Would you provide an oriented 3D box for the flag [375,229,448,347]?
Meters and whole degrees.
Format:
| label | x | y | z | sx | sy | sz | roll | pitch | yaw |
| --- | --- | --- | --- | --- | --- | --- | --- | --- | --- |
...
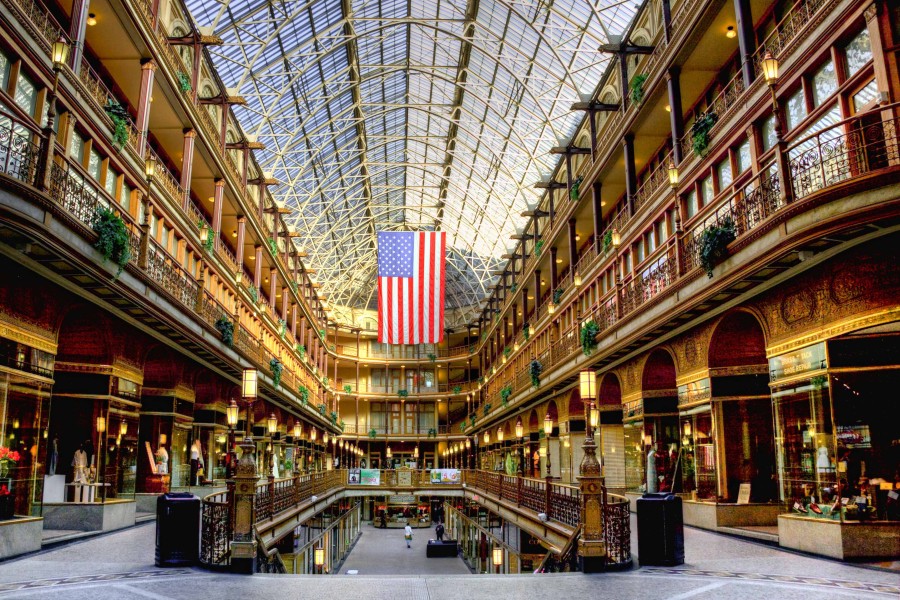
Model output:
| label | x | y | z | sx | sy | sz | roll | pitch | yaw |
| --- | --- | --- | --- | --- | --- | --- | --- | --- | --- |
| flag | -2.084 | -0.661 | 37.414 | 3.551 | 5.979 | 0.728 | 0 | 0 | 6 |

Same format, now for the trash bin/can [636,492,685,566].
| label | x | y | z | sx | sy | sz | roll | pitch | yaw |
| --- | --- | --- | --- | --- | --- | --- | --- | --- | --- |
| trash bin/can | 5.208 | 5.707 | 17.528 | 1.123 | 1.799 | 1.486 | 0 | -9 | -5 |

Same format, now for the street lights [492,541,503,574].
| label | x | y | z | sx | sy | sz | roll | pitch | yaw |
| --- | --- | --- | --- | --- | --- | --- | --- | --- | --- |
| street lights | 2.543 | 12.438 | 33.157 | 0.922 | 1.549 | 0.962 | -1 | -14 | 1 |

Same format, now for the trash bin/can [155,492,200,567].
| label | x | y | z | sx | sy | sz | roll | pitch | yaw |
| --- | --- | --- | --- | --- | --- | --- | --- | --- | --- |
| trash bin/can | -6.871 | 5.786 | 17.619 | 0.900 | 1.839 | 1.077 | -1 | -8 | -1 |

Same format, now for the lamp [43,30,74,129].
| label | x | y | z | sx | sy | sz | roll | pitch | yaw |
| --- | --- | --- | --- | --- | --- | --- | --- | --- | --- |
| lamp | -10.335 | -5.717 | 18.119 | 0.568 | 3.272 | 0.594 | 1 | -8 | -15 |
